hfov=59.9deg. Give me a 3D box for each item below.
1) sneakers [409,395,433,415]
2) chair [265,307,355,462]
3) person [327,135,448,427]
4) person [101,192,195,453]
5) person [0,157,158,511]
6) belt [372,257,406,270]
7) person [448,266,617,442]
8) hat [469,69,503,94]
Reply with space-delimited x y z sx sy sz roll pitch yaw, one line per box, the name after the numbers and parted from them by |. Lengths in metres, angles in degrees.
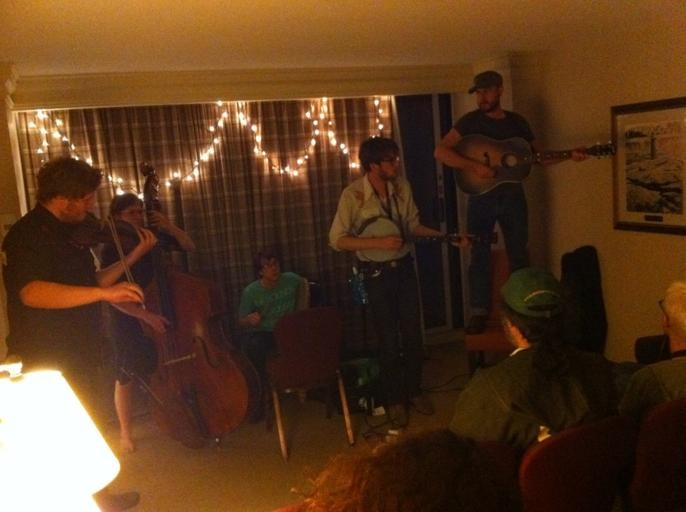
0.516 0.973 3.888 0.145 0.106 0.116 -6 6 3 | sneakers
-0.197 0.723 3.603 0.494 0.852 0.388 -7 6 -9 | chair
0.322 0.109 4.008 0.531 1.823 0.563 -10 7 -37 | person
-1.210 0.397 3.689 0.597 1.550 0.449 -4 -2 10 | person
-1.281 0.194 2.859 0.382 1.140 0.530 -2 7 35 | person
0.317 0.050 3.924 0.244 0.067 0.049 -8 6 -17 | belt
0.910 0.432 2.762 0.784 0.645 0.434 -12 13 -13 | person
0.956 -1.151 3.970 0.204 0.112 0.147 -8 9 -31 | hat
